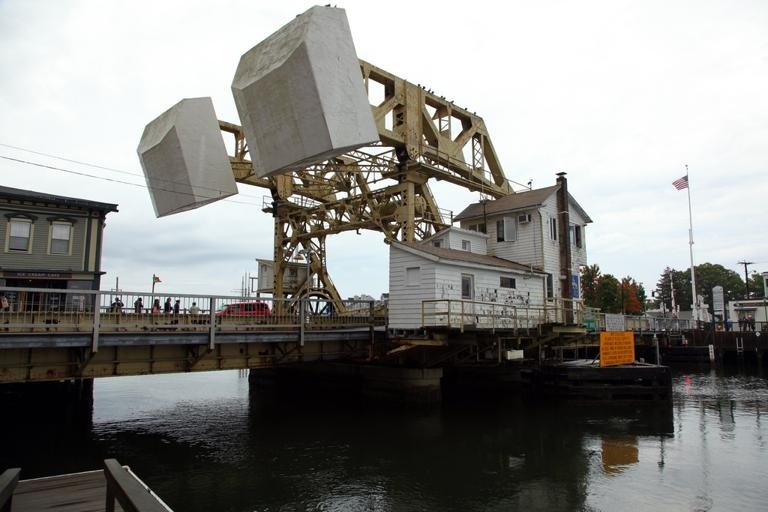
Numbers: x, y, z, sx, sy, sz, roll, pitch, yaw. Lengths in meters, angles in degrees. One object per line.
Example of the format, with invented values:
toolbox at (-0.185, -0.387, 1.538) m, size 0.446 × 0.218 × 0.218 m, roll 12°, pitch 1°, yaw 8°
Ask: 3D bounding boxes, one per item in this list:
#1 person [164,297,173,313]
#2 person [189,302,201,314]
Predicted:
person at (-10.168, 2.265, 28.301) m, size 0.328 × 0.823 × 1.589 m, roll -1°, pitch 2°, yaw -23°
person at (-8.770, 2.396, 27.773) m, size 0.401 × 0.643 × 1.184 m, roll -1°, pitch 2°, yaw -18°
